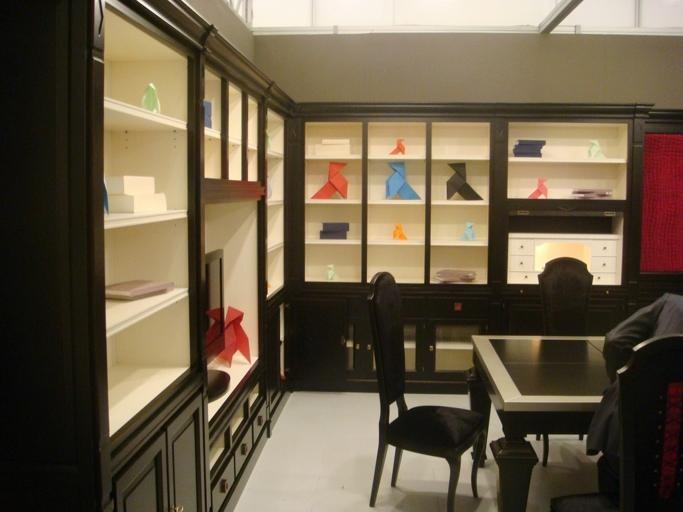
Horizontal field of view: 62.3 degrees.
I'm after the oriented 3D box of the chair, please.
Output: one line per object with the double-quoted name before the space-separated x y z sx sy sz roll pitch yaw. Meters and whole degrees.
"chair" 1.144 0.838 3.606 1.344 1.086 1.468 1 4 8
